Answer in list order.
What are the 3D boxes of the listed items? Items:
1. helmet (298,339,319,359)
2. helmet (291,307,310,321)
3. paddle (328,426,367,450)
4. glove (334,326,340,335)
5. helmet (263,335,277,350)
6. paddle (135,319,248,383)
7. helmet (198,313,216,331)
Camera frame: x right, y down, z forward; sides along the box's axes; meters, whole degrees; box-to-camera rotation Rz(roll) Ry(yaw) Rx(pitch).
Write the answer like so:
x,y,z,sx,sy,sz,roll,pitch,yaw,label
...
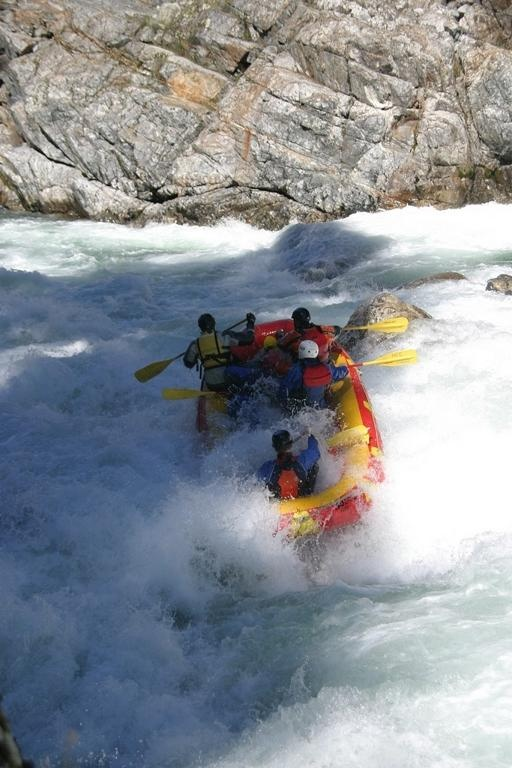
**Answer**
x,y,z,sx,sy,sz,roll,pitch,yaw,label
0.422,-0.296,6.125,0.145,0.154,0.171,3,18,-13,helmet
0.409,-0.651,6.597,0.142,0.099,0.191,1,15,-1,helmet
0.752,0.455,5.854,0.310,0.069,0.155,-16,52,1,paddle
0.761,-0.508,6.717,0.071,0.086,0.042,8,-3,-12,glove
0.127,-0.404,6.894,0.109,0.126,0.119,-10,23,-20,helmet
-0.777,-0.351,7.925,1.519,0.197,0.089,-36,6,-15,paddle
-0.483,-0.593,6.917,0.165,0.186,0.196,7,23,14,helmet
